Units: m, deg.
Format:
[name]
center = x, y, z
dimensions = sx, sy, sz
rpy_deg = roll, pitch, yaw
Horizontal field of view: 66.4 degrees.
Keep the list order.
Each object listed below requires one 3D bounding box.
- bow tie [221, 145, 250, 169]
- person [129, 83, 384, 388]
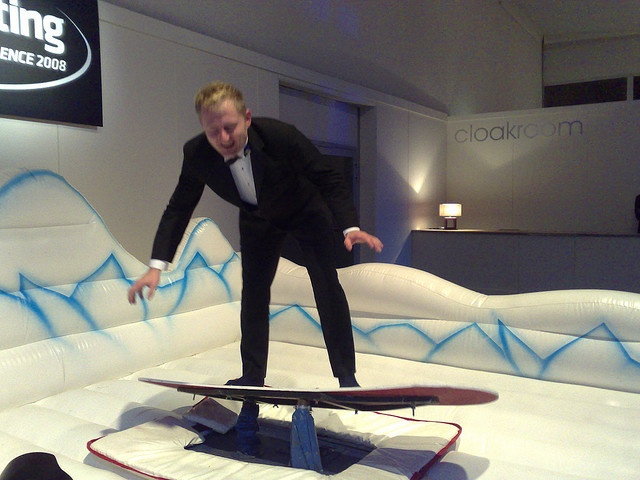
[bow tie]
center = -0.353, -0.359, 2.085
dimensions = 0.123, 0.086, 0.057
rpy_deg = 0, 9, 2
[person]
center = -0.362, 0.106, 2.300
dimensions = 1.079, 1.628, 0.823
rpy_deg = -12, 21, -19
